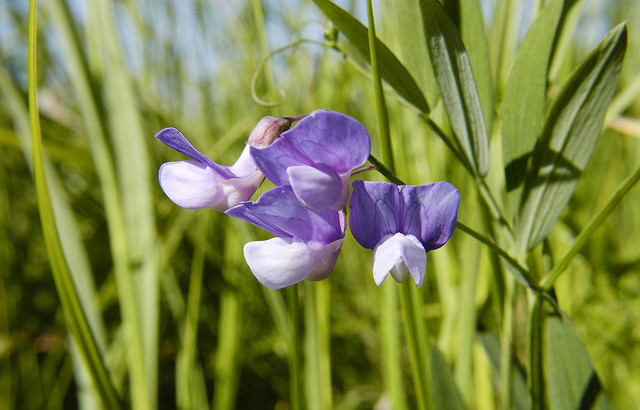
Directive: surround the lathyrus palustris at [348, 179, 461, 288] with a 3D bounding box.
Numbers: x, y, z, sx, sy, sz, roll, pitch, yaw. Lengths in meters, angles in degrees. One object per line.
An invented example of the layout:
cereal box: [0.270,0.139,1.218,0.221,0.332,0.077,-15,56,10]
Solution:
lathyrus palustris: [0.154,0.044,1.194,0.189,0.226,0.099,1,0,6]
